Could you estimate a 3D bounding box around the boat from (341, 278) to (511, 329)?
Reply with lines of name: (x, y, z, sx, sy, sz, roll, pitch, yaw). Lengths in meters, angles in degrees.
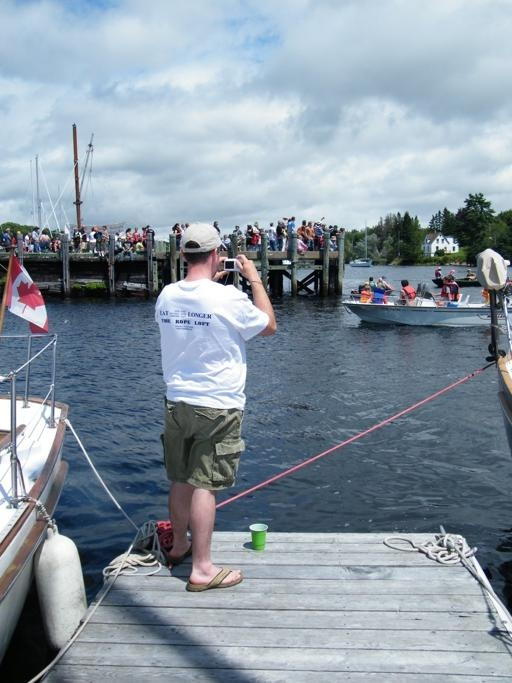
boat: (6.218, -1.156, 21.890, 6.826, 1.739, 1.837, 1, 0, 9)

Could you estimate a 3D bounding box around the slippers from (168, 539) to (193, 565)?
slippers: (-0.428, 1.178, 3.811, 0.073, 0.062, 0.186, 6, 20, 13)

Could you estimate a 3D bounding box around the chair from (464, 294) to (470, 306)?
chair: (7.766, -1.538, 24.885, 0.153, 0.133, 1.368, -14, 11, 20)

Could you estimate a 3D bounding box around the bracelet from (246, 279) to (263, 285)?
bracelet: (-0.018, -0.311, 3.530, 0.060, 0.020, 0.044, 1, -7, 34)

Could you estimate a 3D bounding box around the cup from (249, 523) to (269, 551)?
cup: (0.014, 1.147, 3.981, 0.136, 0.120, 0.139, 2, 5, 0)

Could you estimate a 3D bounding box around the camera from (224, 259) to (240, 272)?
camera: (-0.131, -0.405, 3.584, 0.058, 0.060, 0.100, 2, 1, 24)

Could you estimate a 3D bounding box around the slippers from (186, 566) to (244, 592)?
slippers: (-0.215, 1.216, 3.471, 0.232, 0.058, 0.110, -2, 3, -19)

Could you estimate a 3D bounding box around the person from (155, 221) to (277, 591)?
person: (-0.220, 0.329, 3.530, 0.539, 1.868, 0.557, -6, 11, -31)
